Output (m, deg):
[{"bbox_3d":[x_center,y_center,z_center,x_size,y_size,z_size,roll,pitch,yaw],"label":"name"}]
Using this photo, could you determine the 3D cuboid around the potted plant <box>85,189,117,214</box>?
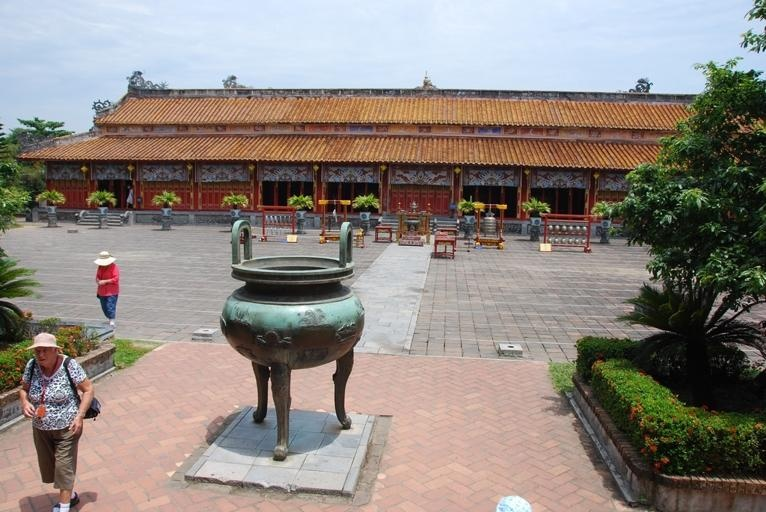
[{"bbox_3d":[-16.360,-3.248,32.449,1.887,1.209,1.799,3,7,4],"label":"potted plant"}]

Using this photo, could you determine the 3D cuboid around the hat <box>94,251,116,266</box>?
[{"bbox_3d":[-7.160,0.063,14.339,0.548,0.199,0.485,-1,13,7],"label":"hat"}]

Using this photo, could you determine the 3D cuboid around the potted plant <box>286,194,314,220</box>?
[{"bbox_3d":[-4.503,-2.707,30.463,1.549,1.375,1.490,0,1,3],"label":"potted plant"}]

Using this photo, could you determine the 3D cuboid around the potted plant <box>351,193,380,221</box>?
[{"bbox_3d":[-0.981,-2.804,31.201,1.682,1.537,1.614,0,0,1],"label":"potted plant"}]

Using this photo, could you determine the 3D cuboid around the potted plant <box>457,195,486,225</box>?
[{"bbox_3d":[4.956,-2.585,29.769,1.911,1.771,1.724,0,2,2],"label":"potted plant"}]

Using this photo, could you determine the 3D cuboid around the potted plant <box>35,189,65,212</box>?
[{"bbox_3d":[-19.588,-3.251,32.998,1.308,1.251,3.074,-8,18,-33],"label":"potted plant"}]

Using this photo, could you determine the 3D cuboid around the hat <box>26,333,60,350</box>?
[{"bbox_3d":[-4.094,1.011,6.686,0.332,0.133,0.313,-4,-3,40],"label":"hat"}]

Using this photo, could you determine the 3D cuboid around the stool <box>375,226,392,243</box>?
[{"bbox_3d":[-0.028,-1.032,26.905,0.940,0.795,0.900,0,2,5],"label":"stool"}]

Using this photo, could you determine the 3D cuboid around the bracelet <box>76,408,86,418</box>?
[{"bbox_3d":[-3.622,1.899,6.692,0.107,0.112,0.063,13,45,-18],"label":"bracelet"}]

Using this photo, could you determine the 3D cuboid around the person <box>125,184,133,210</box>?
[{"bbox_3d":[-15.421,-3.627,33.931,0.401,1.513,0.925,-8,18,-32],"label":"person"}]
